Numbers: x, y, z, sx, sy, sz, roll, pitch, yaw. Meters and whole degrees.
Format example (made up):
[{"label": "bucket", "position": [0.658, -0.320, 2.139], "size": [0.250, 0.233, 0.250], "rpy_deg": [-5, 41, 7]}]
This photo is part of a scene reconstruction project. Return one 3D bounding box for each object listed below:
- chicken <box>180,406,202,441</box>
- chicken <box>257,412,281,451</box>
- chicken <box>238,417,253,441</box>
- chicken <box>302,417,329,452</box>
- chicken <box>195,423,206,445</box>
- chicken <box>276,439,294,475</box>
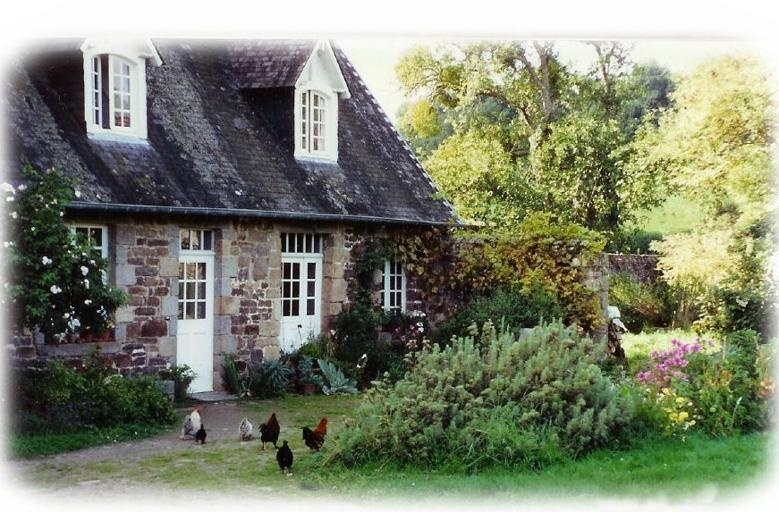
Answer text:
[{"label": "chicken", "position": [-3.203, 2.710, 13.850], "size": [0.352, 0.215, 0.628], "rpy_deg": [-5, 29, 3]}, {"label": "chicken", "position": [-1.902, 2.791, 13.531], "size": [0.296, 0.552, 0.685], "rpy_deg": [-2, -9, -8]}, {"label": "chicken", "position": [-2.310, 2.822, 13.788], "size": [0.234, 0.350, 0.381], "rpy_deg": [-1, -9, -10]}, {"label": "chicken", "position": [-1.130, 2.735, 12.992], "size": [0.349, 0.490, 0.495], "rpy_deg": [-2, -9, -8]}, {"label": "chicken", "position": [-3.003, 2.862, 13.592], "size": [0.155, 0.307, 0.275], "rpy_deg": [-1, -9, -13]}, {"label": "chicken", "position": [-1.501, 2.930, 12.334], "size": [0.228, 0.465, 0.420], "rpy_deg": [-2, -9, -6]}]
